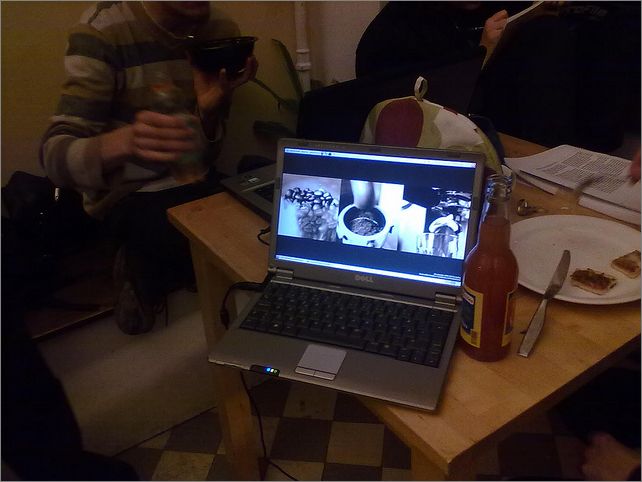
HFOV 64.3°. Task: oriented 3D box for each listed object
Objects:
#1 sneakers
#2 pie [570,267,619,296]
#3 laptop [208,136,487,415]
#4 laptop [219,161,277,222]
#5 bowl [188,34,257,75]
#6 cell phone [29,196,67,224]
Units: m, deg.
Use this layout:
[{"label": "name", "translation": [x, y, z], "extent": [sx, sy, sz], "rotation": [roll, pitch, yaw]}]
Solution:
[{"label": "sneakers", "translation": [-0.778, 0.200, 2.161], "extent": [0.137, 0.149, 0.387], "rotation": [-5, 78, 13]}, {"label": "pie", "translation": [0.603, 0.083, 1.112], "extent": [0.067, 0.021, 0.053], "rotation": [22, 43, 36]}, {"label": "laptop", "translation": [0.115, 0.054, 1.189], "extent": [0.591, 0.386, 0.550], "rotation": [11, 40, 21]}, {"label": "laptop", "translation": [-0.201, -0.153, 1.481], "extent": [0.188, 0.026, 0.175], "rotation": [34, 48, 30]}, {"label": "bowl", "translation": [-0.277, -0.524, 1.431], "extent": [0.137, 0.051, 0.138], "rotation": [-4, 28, 2]}, {"label": "cell phone", "translation": [-0.889, -0.100, 1.658], "extent": [0.061, 0.054, 0.076], "rotation": [27, 32, 32]}]
